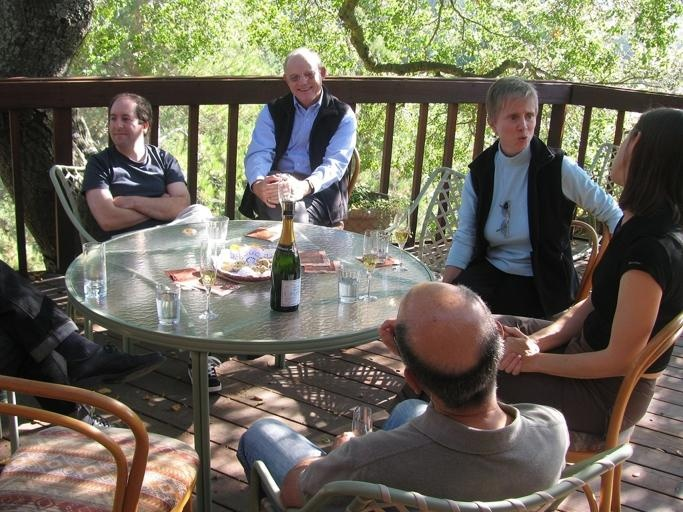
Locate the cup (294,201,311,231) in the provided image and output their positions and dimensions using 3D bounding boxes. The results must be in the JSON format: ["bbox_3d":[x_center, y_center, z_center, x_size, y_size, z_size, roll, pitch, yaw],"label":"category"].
[{"bbox_3d":[-0.264,-0.278,3.314,0.151,0.182,0.198,-1,5,-13],"label":"cup"}]

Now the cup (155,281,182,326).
[{"bbox_3d":[-0.591,0.150,1.730,0.078,0.118,0.151,-2,16,-19],"label":"cup"}]

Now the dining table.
[{"bbox_3d":[-0.534,0.083,2.018,1.221,0.745,1.199,-17,36,-37],"label":"dining table"}]

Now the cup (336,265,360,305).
[{"bbox_3d":[0.022,0.109,1.938,0.084,0.126,0.132,0,12,-3],"label":"cup"}]
